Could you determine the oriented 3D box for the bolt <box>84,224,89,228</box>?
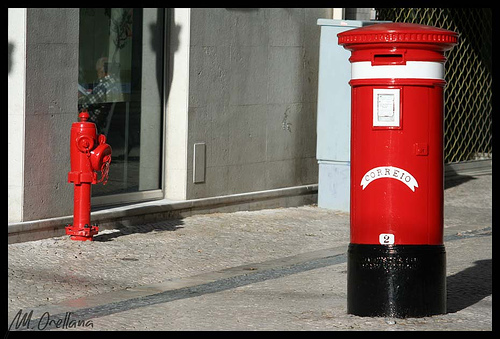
[{"bbox_3d":[-1.942,0.659,9.014,0.038,0.032,0.034,-3,-4,-2],"label":"bolt"}]

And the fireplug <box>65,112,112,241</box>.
[{"bbox_3d":[-1.934,0.084,9.048,0.533,1.527,0.248,-1,6,-13],"label":"fireplug"}]

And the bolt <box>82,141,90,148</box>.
[{"bbox_3d":[-1.922,-0.302,8.893,0.084,0.075,0.015,-1,6,-11],"label":"bolt"}]

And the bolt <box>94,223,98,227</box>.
[{"bbox_3d":[-1.918,0.675,9.446,0.045,0.040,0.048,0,-3,11],"label":"bolt"}]

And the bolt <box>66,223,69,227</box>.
[{"bbox_3d":[-2.215,0.657,9.184,0.031,0.027,0.035,-1,-4,3],"label":"bolt"}]
